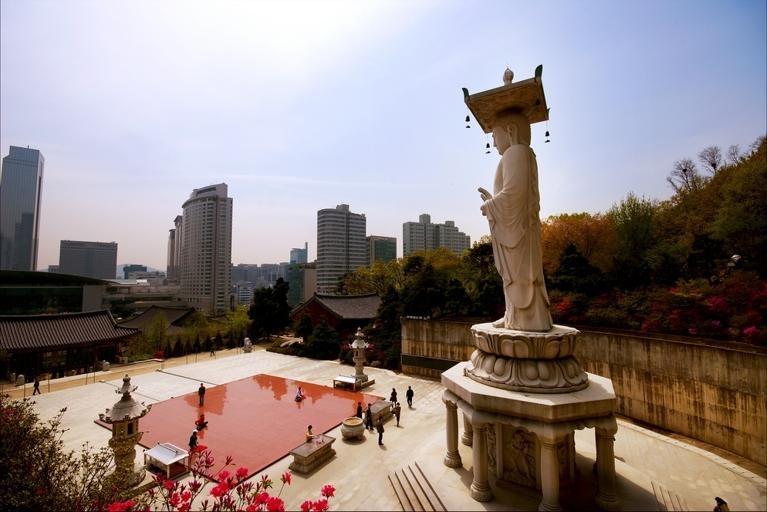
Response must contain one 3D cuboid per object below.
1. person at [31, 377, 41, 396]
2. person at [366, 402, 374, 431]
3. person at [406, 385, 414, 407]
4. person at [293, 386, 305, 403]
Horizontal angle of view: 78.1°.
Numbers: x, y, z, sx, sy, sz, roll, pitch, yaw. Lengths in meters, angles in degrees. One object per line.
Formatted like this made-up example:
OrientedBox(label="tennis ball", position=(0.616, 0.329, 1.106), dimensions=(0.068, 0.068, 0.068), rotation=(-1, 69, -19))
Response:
OrientedBox(label="person", position=(-20.857, 7.893, 28.559), dimensions=(0.403, 0.893, 1.590), rotation=(1, -5, -37))
OrientedBox(label="person", position=(-0.685, 8.249, 24.120), dimensions=(0.405, 1.054, 0.754), rotation=(-2, -4, -5))
OrientedBox(label="person", position=(1.493, 7.867, 26.522), dimensions=(0.342, 0.960, 1.096), rotation=(-2, -4, 2))
OrientedBox(label="person", position=(-4.855, 8.236, 27.743), dimensions=(0.461, 0.767, 0.751), rotation=(0, -17, -2))
